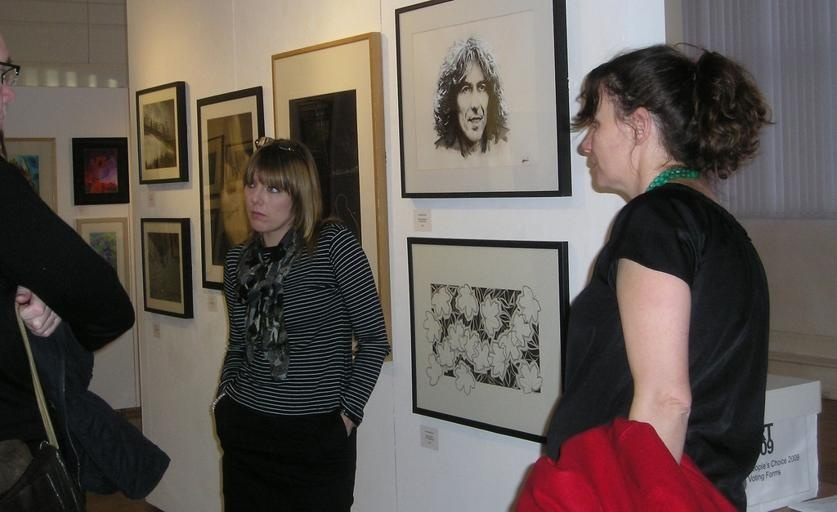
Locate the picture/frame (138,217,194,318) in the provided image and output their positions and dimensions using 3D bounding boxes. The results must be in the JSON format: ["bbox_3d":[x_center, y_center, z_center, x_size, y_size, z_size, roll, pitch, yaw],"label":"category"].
[{"bbox_3d":[-2.014,0.079,5.403,0.093,0.935,0.745,-2,5,-41],"label":"picture/frame"}]

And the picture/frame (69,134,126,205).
[{"bbox_3d":[-3.275,-0.896,6.797,0.648,0.868,0.079,-3,4,-35],"label":"picture/frame"}]

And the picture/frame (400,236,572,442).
[{"bbox_3d":[0.406,0.434,3.666,1.090,1.190,0.040,4,4,38],"label":"picture/frame"}]
